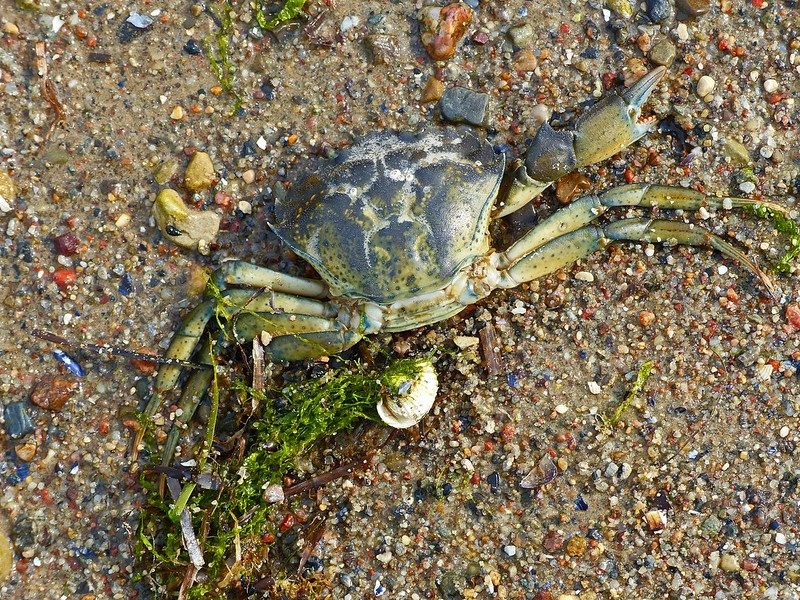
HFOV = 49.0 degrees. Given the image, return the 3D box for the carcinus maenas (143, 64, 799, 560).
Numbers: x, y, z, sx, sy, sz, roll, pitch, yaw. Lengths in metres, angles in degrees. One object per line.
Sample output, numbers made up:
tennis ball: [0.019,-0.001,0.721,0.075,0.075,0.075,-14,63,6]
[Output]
carcinus maenas: [0.266,-0.040,5.460,2.036,3.268,2.845,5,106,-1]
